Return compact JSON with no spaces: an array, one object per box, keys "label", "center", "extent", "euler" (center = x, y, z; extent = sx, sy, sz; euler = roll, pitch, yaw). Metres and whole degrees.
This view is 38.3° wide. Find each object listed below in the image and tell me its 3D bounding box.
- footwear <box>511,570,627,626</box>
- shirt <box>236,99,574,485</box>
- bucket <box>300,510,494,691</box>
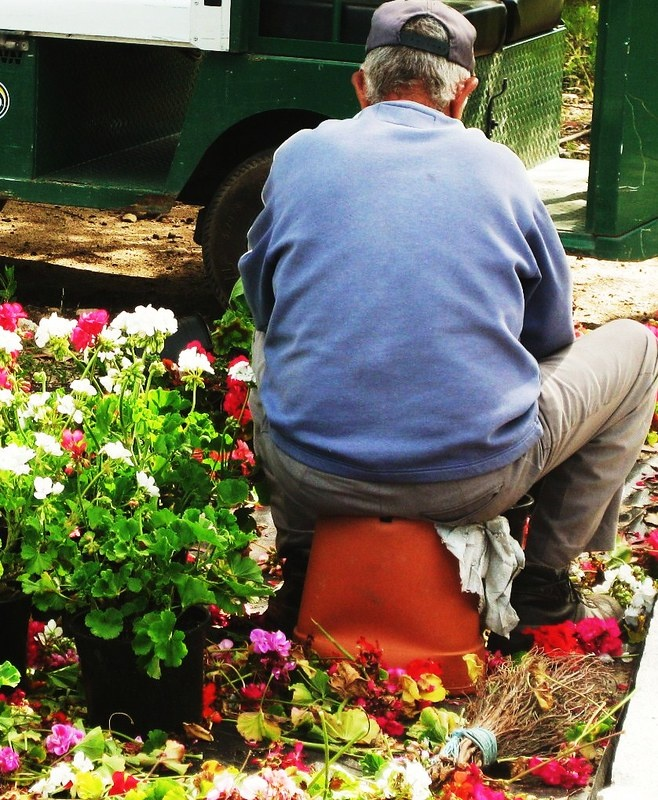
[{"label":"footwear","center":[0.593,0.484,2.343],"extent":[0.244,0.072,0.141],"euler":[-2,-4,27]},{"label":"shirt","center":[0.152,-0.258,2.112],"extent":[0.754,0.805,0.509],"euler":[3,18,10]},{"label":"bucket","center":[0.158,0.426,2.284],"extent":[0.505,0.302,0.421],"euler":[6,11,10]}]
